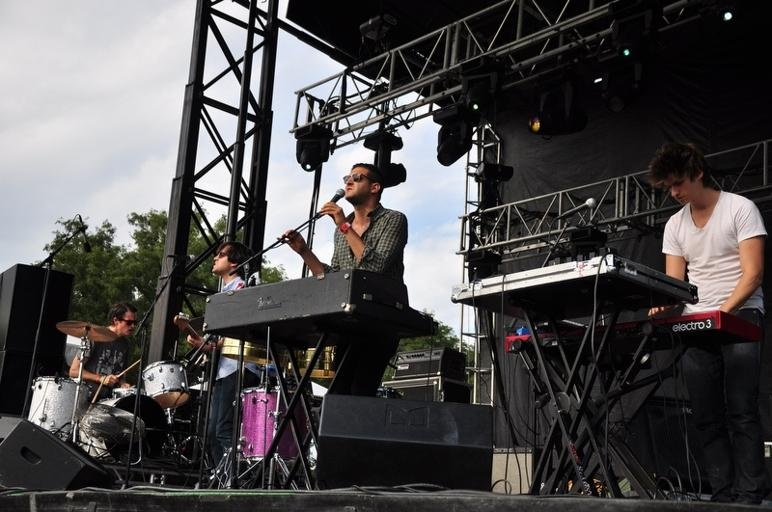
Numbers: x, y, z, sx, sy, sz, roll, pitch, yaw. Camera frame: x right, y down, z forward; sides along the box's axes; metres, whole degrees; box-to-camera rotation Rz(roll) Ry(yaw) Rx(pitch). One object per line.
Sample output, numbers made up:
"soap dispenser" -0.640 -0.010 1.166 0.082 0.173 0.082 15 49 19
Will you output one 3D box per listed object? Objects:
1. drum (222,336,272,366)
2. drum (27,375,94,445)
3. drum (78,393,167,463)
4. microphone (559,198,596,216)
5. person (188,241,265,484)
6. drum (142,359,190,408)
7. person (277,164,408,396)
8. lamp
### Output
"drum" -1.337 0.923 8.574 0.387 0.261 0.406 6 -18 2
"drum" -3.525 1.612 9.921 0.724 0.758 0.755 13 -6 20
"drum" -2.783 1.797 9.380 0.724 0.831 1.379 9 -12 -34
"microphone" 2.776 -0.716 12.974 0.488 0.124 0.179 -28 19 -5
"person" -1.514 1.089 8.946 0.682 2.609 0.633 -6 -11 38
"drum" -2.430 1.382 10.025 0.503 0.377 0.514 -18 -27 -10
"person" -0.282 0.113 7.689 0.652 3.219 0.982 8 -11 -39
"lamp" -0.048 -1.697 13.560 2.980 1.202 1.305 -2 -40 8
